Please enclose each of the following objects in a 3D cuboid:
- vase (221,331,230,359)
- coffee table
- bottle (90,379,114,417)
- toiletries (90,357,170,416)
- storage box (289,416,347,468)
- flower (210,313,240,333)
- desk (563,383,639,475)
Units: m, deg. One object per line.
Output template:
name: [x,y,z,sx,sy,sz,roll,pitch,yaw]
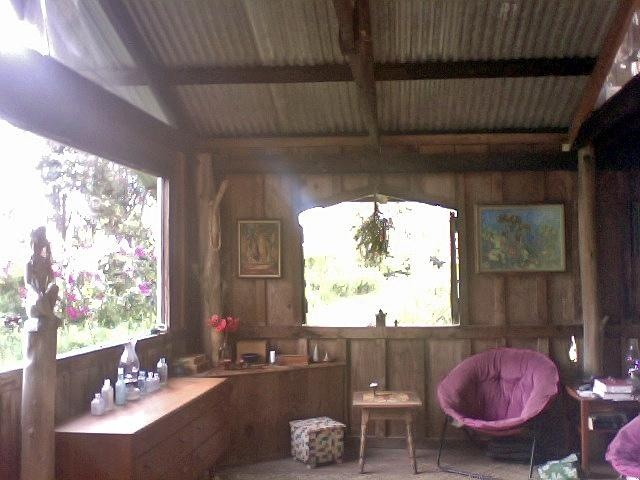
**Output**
vase: [-1.080,1.209,6.363,0.089,0.283,0.245,-2,-4,3]
coffee table: [0.702,2.002,5.874,0.671,0.755,0.695,-2,-5,4]
bottle: [-1.888,1.366,4.760,0.101,0.321,0.216,-1,-6,12]
toiletries: [-1.714,1.337,5.017,0.176,0.313,0.725,1,5,22]
storage box: [-0.032,2.116,5.849,0.414,0.352,0.424,5,-13,-27]
flower: [-1.108,0.973,6.375,0.327,0.237,0.367,-1,-5,-11]
desk: [2.809,1.921,5.763,0.701,0.775,0.755,-1,-9,2]
